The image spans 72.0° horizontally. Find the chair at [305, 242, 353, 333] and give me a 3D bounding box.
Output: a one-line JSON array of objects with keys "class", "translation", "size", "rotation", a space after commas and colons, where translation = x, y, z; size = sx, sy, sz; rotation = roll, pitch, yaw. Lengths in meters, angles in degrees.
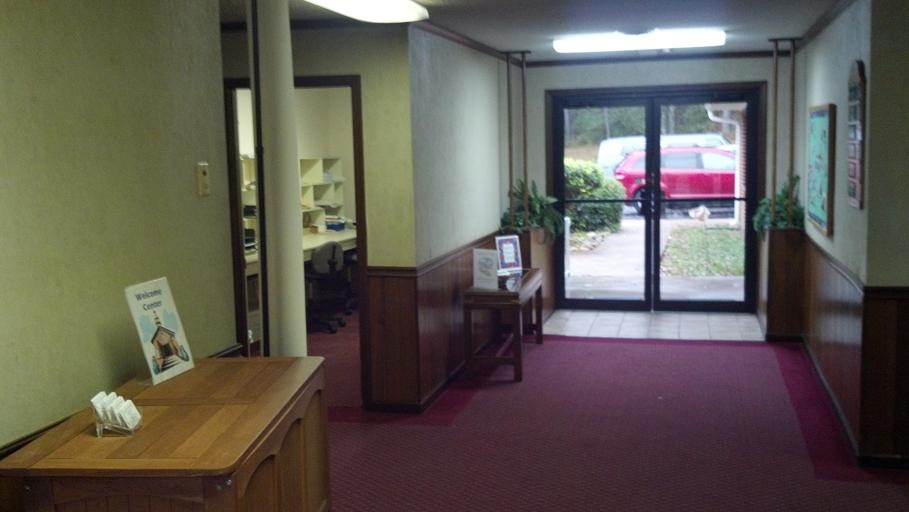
[{"class": "chair", "translation": [-1.711, 0.345, 8.569], "size": [0.819, 0.992, 0.799], "rotation": [0, 9, -15]}]

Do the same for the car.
[{"class": "car", "translation": [2.705, -1.136, 8.293], "size": [1.841, 0.621, 0.813], "rotation": [-3, 21, 4]}]

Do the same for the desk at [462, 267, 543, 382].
[{"class": "desk", "translation": [0.714, 0.741, 7.257], "size": [0.621, 0.901, 1.910], "rotation": [-1, 5, 21]}]
